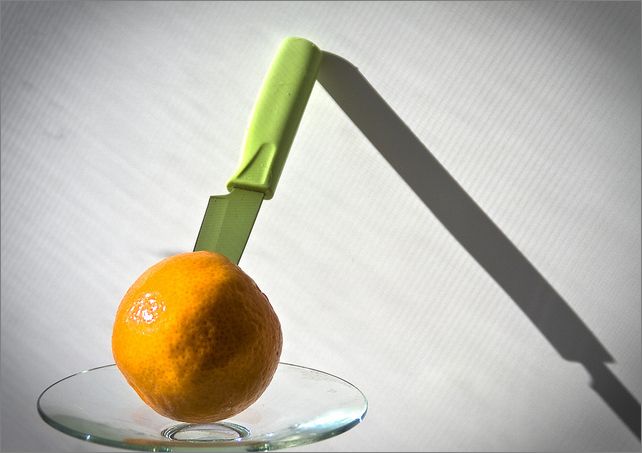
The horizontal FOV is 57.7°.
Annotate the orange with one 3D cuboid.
[{"bbox_3d":[-0.142,0.129,0.683,0.165,0.190,0.202,5,-95,27],"label":"orange"}]

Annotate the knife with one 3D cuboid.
[{"bbox_3d":[-0.076,-0.126,0.826,0.081,0.513,0.048,18,-27,-6],"label":"knife"}]
